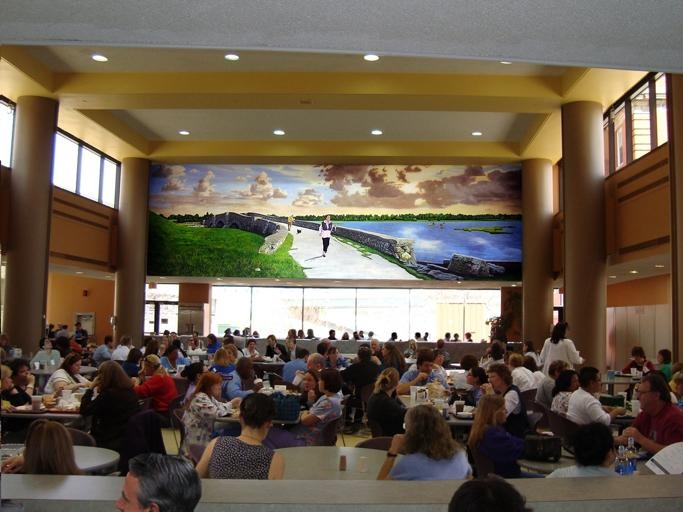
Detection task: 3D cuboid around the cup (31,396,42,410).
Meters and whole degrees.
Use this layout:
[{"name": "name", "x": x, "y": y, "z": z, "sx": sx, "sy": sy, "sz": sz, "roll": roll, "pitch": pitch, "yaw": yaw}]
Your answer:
[{"name": "cup", "x": -3.538, "y": 1.702, "z": 5.987, "sx": 0.157, "sy": 0.145, "sz": 0.153, "roll": 0, "pitch": -9, "yaw": 0}]

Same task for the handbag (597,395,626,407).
[{"name": "handbag", "x": 3.092, "y": 1.641, "z": 5.900, "sx": 0.249, "sy": 0.204, "sz": 0.124, "roll": -3, "pitch": -2, "yaw": 8}]

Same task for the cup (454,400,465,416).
[{"name": "cup", "x": 1.359, "y": 1.758, "z": 6.008, "sx": 0.136, "sy": 0.112, "sz": 0.130, "roll": -1, "pitch": -3, "yaw": 0}]
